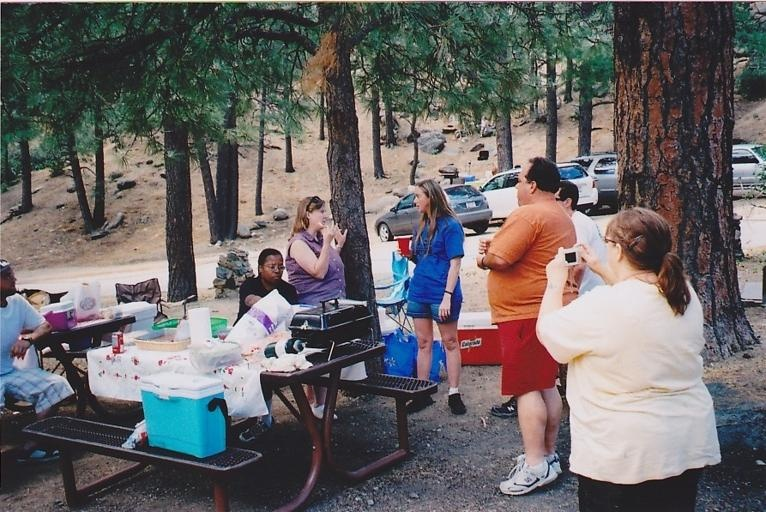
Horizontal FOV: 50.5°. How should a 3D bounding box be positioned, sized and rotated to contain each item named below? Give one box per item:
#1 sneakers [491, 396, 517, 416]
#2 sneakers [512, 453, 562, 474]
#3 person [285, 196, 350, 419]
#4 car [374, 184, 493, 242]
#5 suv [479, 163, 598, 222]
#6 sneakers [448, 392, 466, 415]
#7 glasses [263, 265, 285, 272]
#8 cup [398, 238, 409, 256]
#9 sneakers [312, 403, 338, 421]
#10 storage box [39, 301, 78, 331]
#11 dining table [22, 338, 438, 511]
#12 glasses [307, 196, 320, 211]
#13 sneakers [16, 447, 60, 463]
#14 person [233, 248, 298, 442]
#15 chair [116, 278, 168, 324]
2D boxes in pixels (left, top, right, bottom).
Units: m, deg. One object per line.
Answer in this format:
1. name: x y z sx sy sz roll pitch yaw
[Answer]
1. sneakers: 1.288 1.567 8.497 0.383 0.192 0.161 -1 -2 11
2. sneakers: 1.358 1.848 7.348 0.531 0.235 0.191 -1 -6 -3
3. person: -0.647 0.524 8.670 0.825 2.239 0.851 -6 -2 -9
4. car: 1.167 -1.034 20.171 1.421 1.006 2.888 -9 10 -41
5. suv: 3.639 -1.642 19.863 1.807 1.415 3.873 -10 12 -35
6. sneakers: 0.777 1.544 8.516 0.145 0.239 0.238 -6 -10 -16
7. glasses: -1.106 0.125 8.284 0.216 0.074 0.113 -8 7 -27
8. cup: 0.287 -0.137 11.109 0.213 0.216 0.215 -2 -6 0
9. sneakers: -0.614 1.584 8.268 0.417 0.181 0.151 -5 -3 42
10. storage box: -3.320 0.588 8.279 0.341 0.239 0.248 2 8 28
11. dining table: -1.156 1.597 7.326 2.096 0.846 2.261 3 -7 -45
12. glasses: -0.718 -0.549 8.454 0.131 0.056 0.134 -20 9 15
13. sneakers: -3.409 1.957 8.015 0.348 0.133 0.208 14 -3 -9
14. person: -1.152 0.916 8.468 0.631 1.964 0.627 -2 13 -3
15. chair: -3.448 0.633 11.621 0.527 0.688 0.493 -8 10 -36
